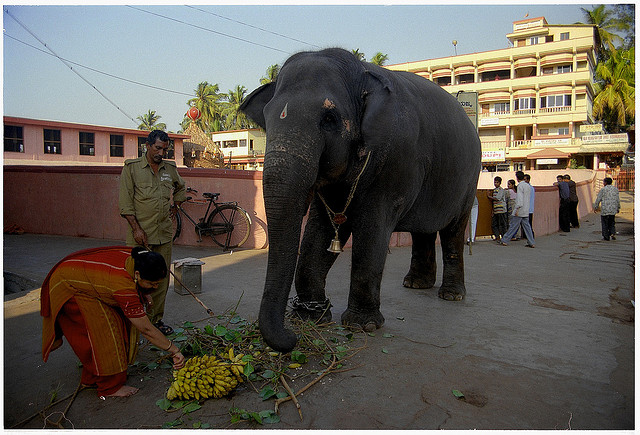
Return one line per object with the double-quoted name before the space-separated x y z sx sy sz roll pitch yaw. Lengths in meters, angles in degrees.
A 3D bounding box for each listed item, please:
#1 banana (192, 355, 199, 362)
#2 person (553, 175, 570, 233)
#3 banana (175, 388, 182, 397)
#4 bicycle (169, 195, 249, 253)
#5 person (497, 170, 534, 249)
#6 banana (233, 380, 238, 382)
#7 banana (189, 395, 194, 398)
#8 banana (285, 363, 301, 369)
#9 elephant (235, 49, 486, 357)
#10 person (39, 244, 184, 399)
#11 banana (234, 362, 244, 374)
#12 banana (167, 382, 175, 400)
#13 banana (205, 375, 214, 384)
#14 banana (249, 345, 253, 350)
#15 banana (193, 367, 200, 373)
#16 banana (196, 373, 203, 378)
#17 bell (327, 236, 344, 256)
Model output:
"banana" -1.149 1.312 3.637 0.058 0.081 0.022 -13 -37 -1
"person" 9.291 -0.398 15.061 0.481 1.828 1.043 2 7 13
"banana" -1.225 1.522 3.416 0.054 0.018 0.075 9 15 -8
"bicycle" -2.643 0.116 10.130 1.911 1.259 1.130 5 3 6
"person" 5.743 -0.233 11.390 0.842 2.142 1.085 4 8 25
"banana" -0.750 1.449 3.478 0.043 0.011 0.041 0 0 -2
"banana" -1.107 1.545 3.400 0.043 0.023 0.019 16 -10 7
"banana" -0.260 1.451 3.831 0.139 0.020 0.046 3 42 -36
"elephant" 0.763 -0.273 5.193 1.708 3.159 3.911 11 12 44
"person" -1.905 0.940 3.573 1.149 1.289 0.376 2 7 10
"banana" -0.727 1.389 3.598 0.059 0.016 0.065 16 36 -48
"banana" -1.298 1.527 3.415 0.056 0.097 0.025 12 -5 -21
"banana" -0.951 1.406 3.426 0.034 0.028 0.112 -8 34 -28
"banana" -0.703 1.332 4.016 0.034 0.023 0.072 -1 8 -13
"banana" -1.084 1.351 3.478 0.046 0.029 0.031 -1 8 -10
"banana" -1.049 1.385 3.437 0.063 0.029 0.024 3 8 15
"bell" 0.179 0.334 4.476 0.166 0.184 0.169 10 3 42
